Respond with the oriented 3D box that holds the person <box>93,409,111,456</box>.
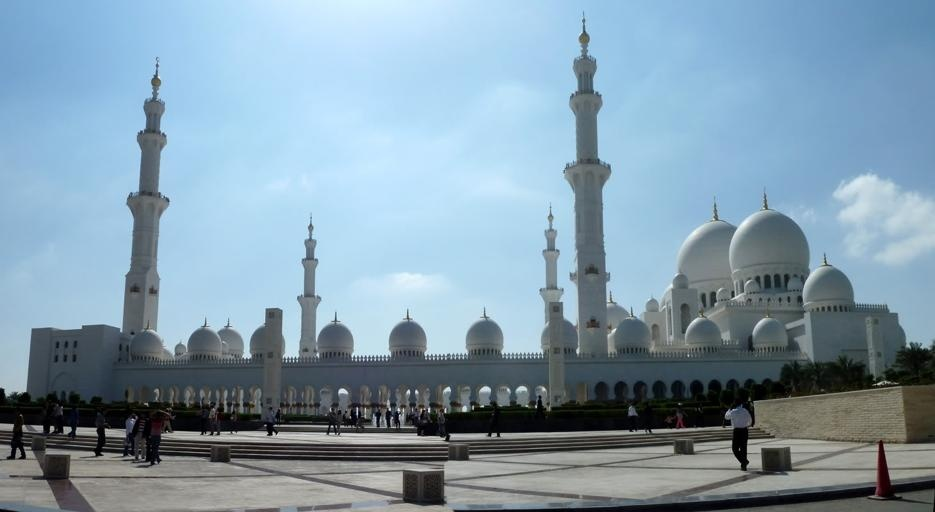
[{"bbox_3d":[-20.862,9.943,59.410,0.485,2.598,1.346,3,-13,-21],"label":"person"}]
